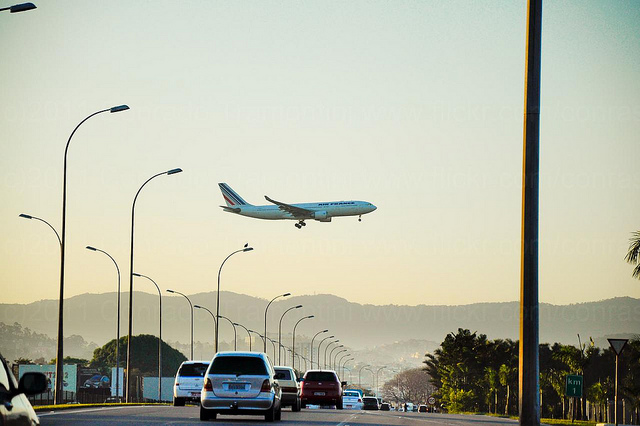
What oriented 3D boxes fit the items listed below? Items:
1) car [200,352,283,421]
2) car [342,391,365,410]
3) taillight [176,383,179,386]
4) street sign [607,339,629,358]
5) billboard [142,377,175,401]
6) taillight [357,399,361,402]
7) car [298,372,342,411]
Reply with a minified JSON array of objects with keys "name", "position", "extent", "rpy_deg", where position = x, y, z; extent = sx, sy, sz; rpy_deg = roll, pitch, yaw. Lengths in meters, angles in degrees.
[{"name":"car","position":[-3.855,8.205,49.704],"extent":[3.614,3.197,1.608],"rpy_deg":[1,-13,-8]},{"name":"car","position":[2.393,14.229,79.219],"extent":[1.088,1.015,2.085],"rpy_deg":[1,0,6]},{"name":"taillight","position":[-8.200,9.781,59.861],"extent":[0.198,0.146,0.080],"rpy_deg":[-10,-16,30]},{"name":"street sign","position":[15.805,7.099,55.637],"extent":[0.913,0.751,1.018],"rpy_deg":[-6,-15,17]},{"name":"billboard","position":[-24.464,26.317,156.957],"extent":[4.238,3.888,9.657],"rpy_deg":[0,-15,-5]},{"name":"taillight","position":[2.919,14.116,78.957],"extent":[0.155,0.254,0.127],"rpy_deg":[1,-11,-7]},{"name":"car","position":[-0.060,11.047,65.915],"extent":[2.631,2.106,1.342],"rpy_deg":[2,-13,-11]}]
